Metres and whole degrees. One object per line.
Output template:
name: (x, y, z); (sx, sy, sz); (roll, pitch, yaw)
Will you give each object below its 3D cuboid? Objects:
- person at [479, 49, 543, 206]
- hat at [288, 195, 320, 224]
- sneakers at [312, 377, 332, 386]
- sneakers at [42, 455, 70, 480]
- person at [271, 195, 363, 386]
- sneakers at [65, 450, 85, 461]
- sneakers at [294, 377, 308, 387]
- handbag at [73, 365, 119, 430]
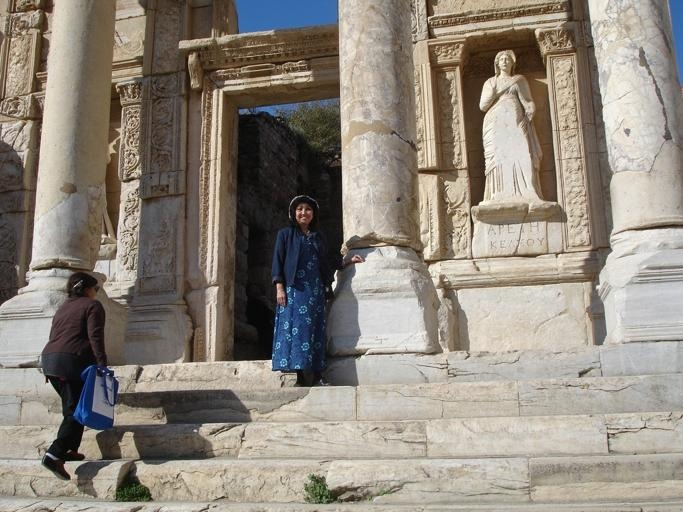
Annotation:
person: (2.089, -1.603, 13.282); (0.759, 2.009, 0.432); (-5, -5, 10)
hat: (-0.345, -0.503, 10.489); (0.272, 0.347, 0.140); (0, 6, 0)
sneakers: (-0.167, 1.159, 9.881); (0.174, 0.073, 0.069); (-4, -10, 16)
sneakers: (-2.348, 1.738, 8.787); (0.094, 0.218, 0.075); (-43, 15, -5)
person: (-0.340, 0.294, 10.165); (0.535, 1.839, 0.783); (-7, -6, 29)
sneakers: (-2.236, 1.672, 8.960); (0.159, 0.089, 0.088); (-2, -5, -15)
sneakers: (-0.348, 1.134, 9.792); (0.125, 0.111, 0.326); (-3, -4, -3)
handbag: (-2.095, 1.196, 9.070); (0.251, 0.497, 0.365); (-16, -38, 28)
